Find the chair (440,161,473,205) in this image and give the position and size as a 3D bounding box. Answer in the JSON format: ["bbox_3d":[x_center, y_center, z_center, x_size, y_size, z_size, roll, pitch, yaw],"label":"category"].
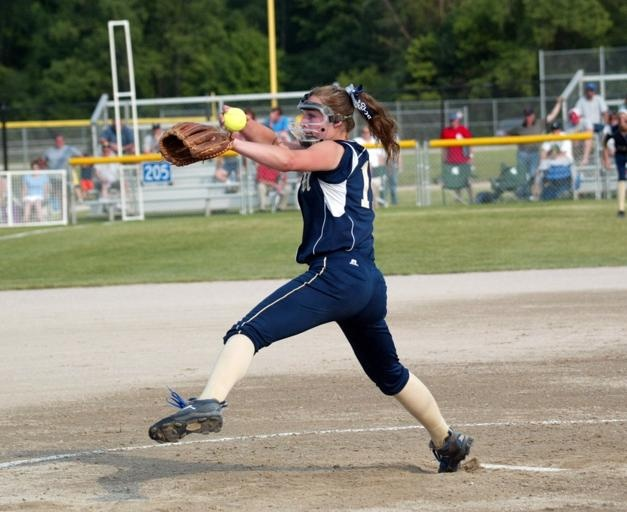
[{"bbox_3d":[2.503,-1.224,25.199,0.642,0.922,0.644,0,-1,12],"label":"chair"}]

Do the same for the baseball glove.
[{"bbox_3d":[-1.151,-1.075,14.114,0.639,0.381,0.278,-8,18,-12],"label":"baseball glove"}]
